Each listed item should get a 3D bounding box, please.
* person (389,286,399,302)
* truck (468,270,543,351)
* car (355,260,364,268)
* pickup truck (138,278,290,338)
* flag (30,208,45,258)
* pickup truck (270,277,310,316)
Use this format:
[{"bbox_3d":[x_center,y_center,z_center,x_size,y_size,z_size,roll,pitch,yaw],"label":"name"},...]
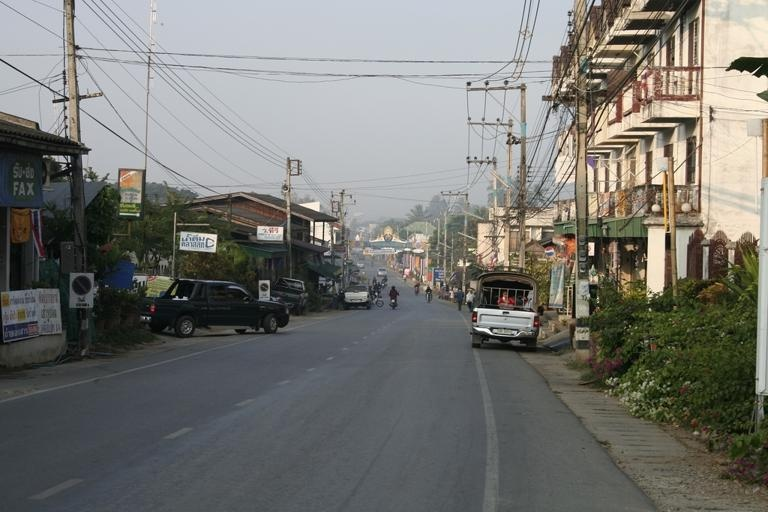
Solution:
[{"bbox_3d":[0.750,3.039,67.204,0.837,0.987,1.568,0,-5,1],"label":"person"},{"bbox_3d":[4.452,1.968,31.304,1.906,1.937,3.692,1,2,2],"label":"truck"},{"bbox_3d":[-5.866,2.070,200.566,2.252,1.671,2.262,2,-5,-33],"label":"car"},{"bbox_3d":[-6.778,2.047,33.277,4.870,1.867,2.033,-1,1,-39],"label":"pickup truck"},{"bbox_3d":[-11.008,-0.734,26.765,0.323,1.520,1.382,2,-4,-17],"label":"flag"},{"bbox_3d":[-6.070,2.386,53.831,1.658,2.033,3.566,-11,4,12],"label":"pickup truck"}]
